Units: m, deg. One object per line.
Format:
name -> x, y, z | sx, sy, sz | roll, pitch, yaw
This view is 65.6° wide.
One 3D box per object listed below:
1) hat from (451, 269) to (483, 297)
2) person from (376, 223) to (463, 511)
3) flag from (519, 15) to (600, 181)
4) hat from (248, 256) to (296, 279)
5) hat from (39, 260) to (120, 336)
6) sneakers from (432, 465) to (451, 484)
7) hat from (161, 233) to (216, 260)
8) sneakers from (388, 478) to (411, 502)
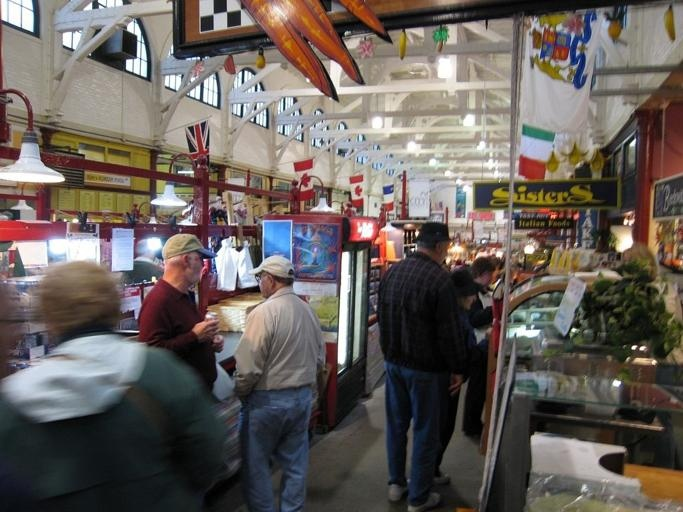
hat -> 1.047, 0.239, 4.496 | 0.256, 0.132, 0.256 | -12, -9, -38
person -> 0.583, 0.953, 3.957 | 0.306, 1.327, 0.691 | 1, 2, -42
flag -> 1.214, -0.950, 2.954 | 0.252, 0.778, 1.015 | 3, 2, 37
hat -> -0.475, 0.085, 3.727 | 0.223, 0.126, 0.166 | 2, -3, 10
hat -> -0.918, 0.144, 1.904 | 0.271, 0.293, 0.221 | -3, -1, -14
sneakers -> 0.838, 1.837, 4.484 | 0.074, 0.157, 0.220 | 0, 1, 35
hat -> -1.031, -0.081, 3.536 | 0.272, 0.152, 0.172 | -8, 6, -31
sneakers -> 0.472, 1.854, 4.231 | 0.090, 0.117, 0.263 | 1, 3, 24
